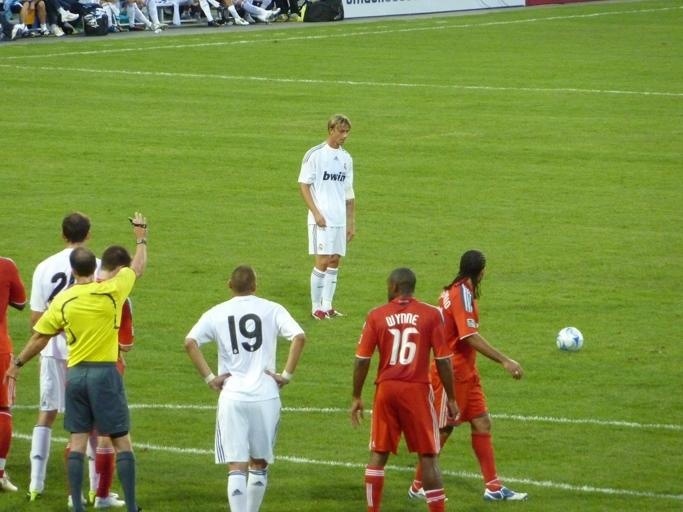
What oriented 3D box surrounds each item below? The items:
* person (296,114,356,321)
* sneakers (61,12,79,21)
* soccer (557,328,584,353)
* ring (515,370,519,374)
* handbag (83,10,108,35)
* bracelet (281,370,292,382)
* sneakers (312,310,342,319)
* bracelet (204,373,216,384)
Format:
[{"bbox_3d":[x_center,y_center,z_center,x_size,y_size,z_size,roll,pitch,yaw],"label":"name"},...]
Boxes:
[{"bbox_3d":[-0.277,-0.692,31.940,0.993,3.867,0.660,-2,5,-2],"label":"person"},{"bbox_3d":[-8.068,-7.094,50.150,0.504,0.230,0.177,-5,35,-5],"label":"sneakers"},{"bbox_3d":[4.221,1.577,31.287,0.494,0.439,0.325,-2,5,6],"label":"soccer"},{"bbox_3d":[2.827,1.911,27.285,0.042,0.054,0.020,-1,2,6],"label":"ring"},{"bbox_3d":[-7.420,-7.001,50.657,0.661,0.873,0.480,0,26,-12],"label":"handbag"},{"bbox_3d":[-0.873,1.942,26.985,0.174,0.129,0.168,-9,16,-26],"label":"bracelet"},{"bbox_3d":[-0.283,1.113,32.258,0.604,0.232,0.197,-2,6,-16],"label":"sneakers"},{"bbox_3d":[-2.102,1.973,26.848,0.154,0.108,0.156,-37,-1,-12],"label":"bracelet"}]
